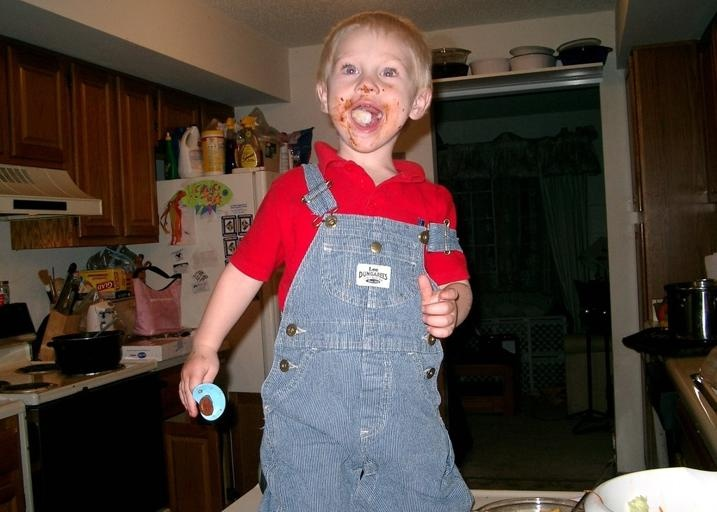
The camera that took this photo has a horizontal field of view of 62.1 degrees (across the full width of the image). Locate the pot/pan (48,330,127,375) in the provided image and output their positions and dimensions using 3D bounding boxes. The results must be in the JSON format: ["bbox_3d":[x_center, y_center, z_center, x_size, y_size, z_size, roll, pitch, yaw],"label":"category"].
[{"bbox_3d":[-1.361,0.475,3.021,0.397,0.175,0.347,-7,2,-3],"label":"pot/pan"}]

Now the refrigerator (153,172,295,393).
[{"bbox_3d":[-0.756,0.195,4.182,0.959,1.501,0.966,-2,2,-2],"label":"refrigerator"}]

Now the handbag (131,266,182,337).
[{"bbox_3d":[-1.222,0.284,3.615,0.169,0.449,0.368,-10,-10,32],"label":"handbag"}]
